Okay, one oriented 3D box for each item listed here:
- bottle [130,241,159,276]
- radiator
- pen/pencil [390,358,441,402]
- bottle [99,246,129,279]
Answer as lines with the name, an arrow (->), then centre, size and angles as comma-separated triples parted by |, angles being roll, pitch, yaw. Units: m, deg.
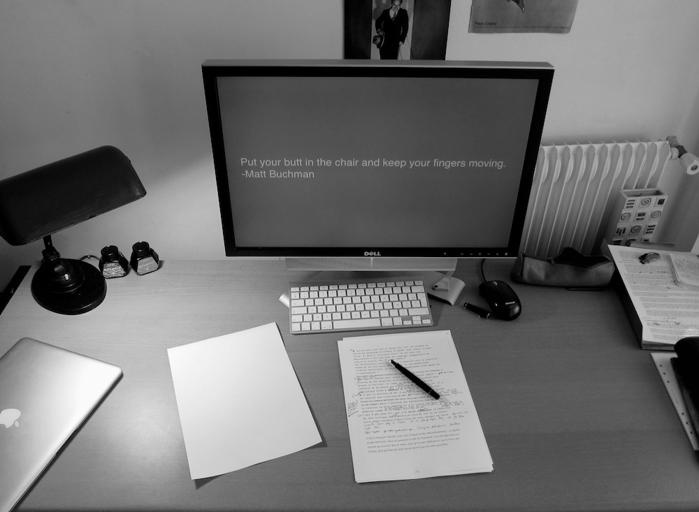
bottle -> -0.611, 0.009, 1.560 | 0.085, 0.085, 0.091 | -7, 48, -15
radiator -> 0.771, -0.183, 1.578 | 0.362, 0.360, 0.061 | -2, 38, 0
pen/pencil -> 0.162, 0.310, 1.299 | 0.016, 0.017, 0.120 | -38, 52, -13
bottle -> -0.691, 0.021, 1.535 | 0.090, 0.094, 0.070 | 0, 39, -8
